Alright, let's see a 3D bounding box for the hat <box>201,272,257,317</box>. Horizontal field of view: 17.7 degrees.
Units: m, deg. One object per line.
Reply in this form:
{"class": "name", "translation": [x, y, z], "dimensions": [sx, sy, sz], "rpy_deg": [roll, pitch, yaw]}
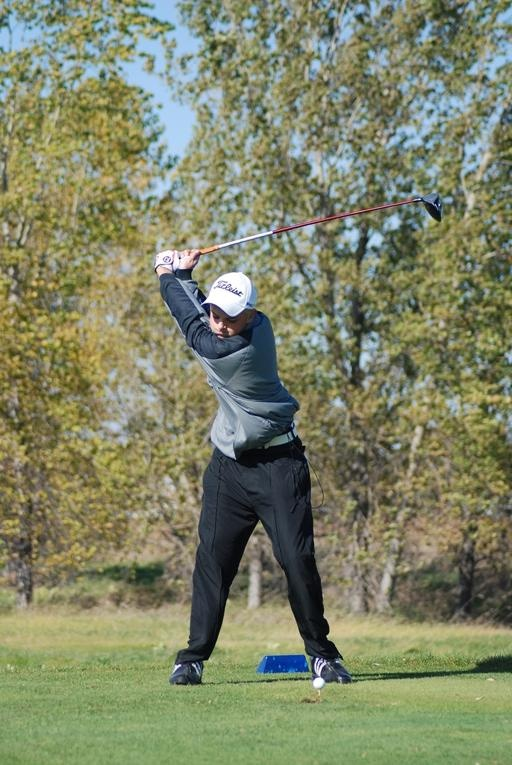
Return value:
{"class": "hat", "translation": [-0.127, -0.431, 8.061], "dimensions": [0.230, 0.248, 0.147], "rpy_deg": [2, -9, -2]}

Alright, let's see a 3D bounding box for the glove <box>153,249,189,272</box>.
{"class": "glove", "translation": [-0.436, -0.639, 8.603], "dimensions": [0.129, 0.135, 0.057], "rpy_deg": [0, -19, 12]}

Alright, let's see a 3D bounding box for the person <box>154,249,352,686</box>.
{"class": "person", "translation": [-0.052, 0.410, 8.368], "dimensions": [0.870, 2.229, 0.721], "rpy_deg": [8, -10, -36]}

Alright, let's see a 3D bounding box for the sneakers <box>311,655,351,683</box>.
{"class": "sneakers", "translation": [0.358, 1.436, 8.245], "dimensions": [0.089, 0.118, 0.250], "rpy_deg": [2, -10, -27]}
